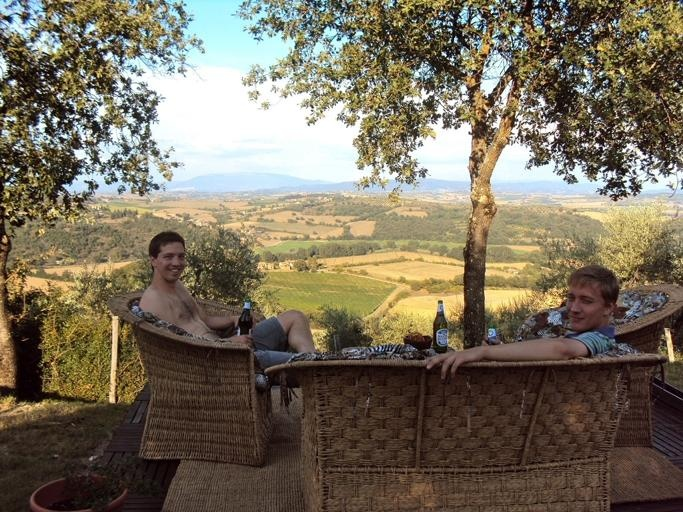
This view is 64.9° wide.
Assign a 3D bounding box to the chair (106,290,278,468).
[{"bbox_3d":[-1.006,0.867,4.069,1.175,0.835,1.153,2,1,-4],"label":"chair"}]

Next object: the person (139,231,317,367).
[{"bbox_3d":[-0.845,0.419,4.223,1.503,1.077,0.684,3,10,5],"label":"person"}]

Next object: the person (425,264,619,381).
[{"bbox_3d":[1.101,0.388,3.019,0.928,0.500,0.661,-3,0,-5],"label":"person"}]
